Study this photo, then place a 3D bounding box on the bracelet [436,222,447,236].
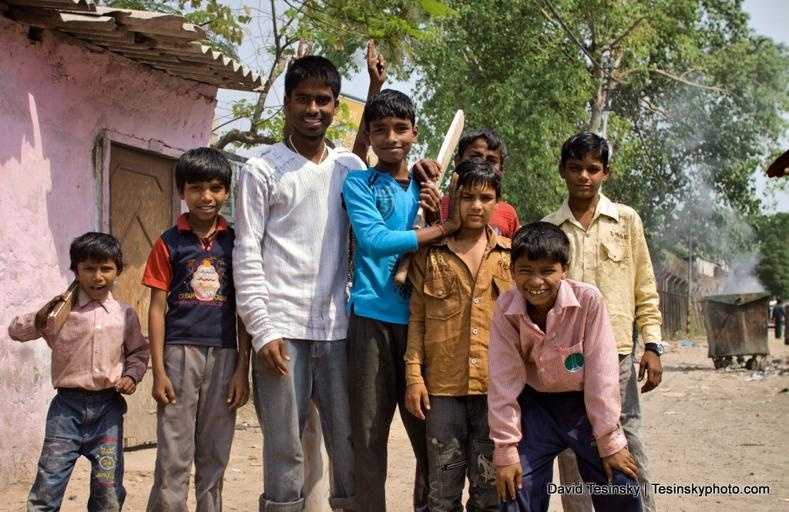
[{"bbox_3d":[0.420,-0.238,7.819,0.083,0.113,0.043,1,-11,-12],"label":"bracelet"}]
